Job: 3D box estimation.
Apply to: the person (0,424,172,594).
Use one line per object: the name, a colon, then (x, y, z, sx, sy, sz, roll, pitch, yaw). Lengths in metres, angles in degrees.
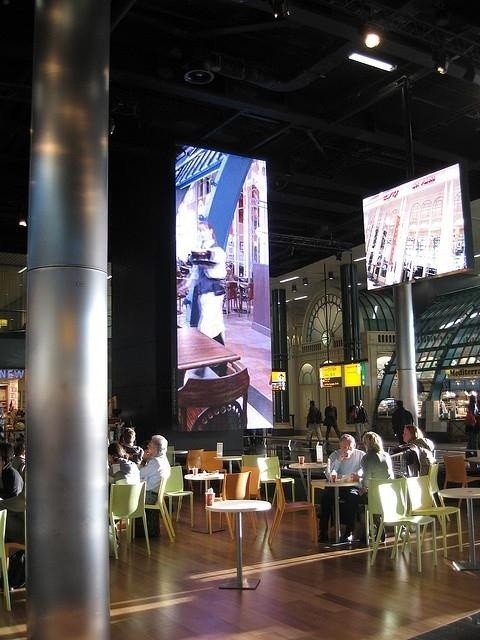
person: (-1.531, 1.914, 6.509, 1.140, 1.855, 0.977, -4, -10, 37)

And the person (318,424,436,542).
person: (1.640, 2.001, 6.918, 1.239, 2.063, 0.854, -1, -17, 14)

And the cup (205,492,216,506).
cup: (-0.274, 1.648, 5.217, 0.092, 0.140, 0.094, -2, -10, 0)
